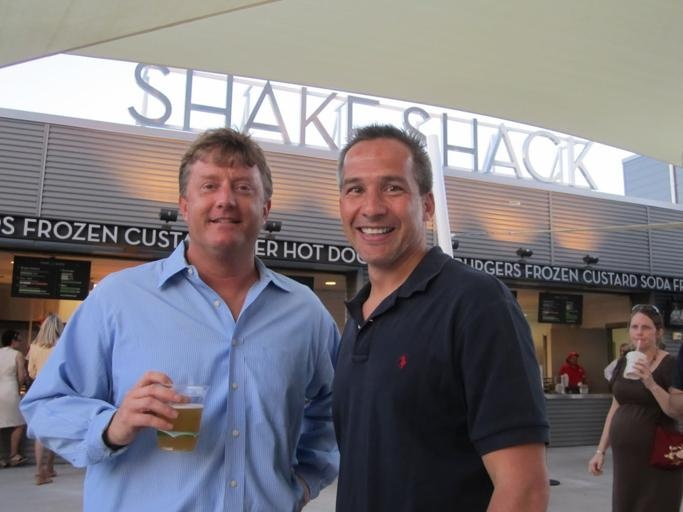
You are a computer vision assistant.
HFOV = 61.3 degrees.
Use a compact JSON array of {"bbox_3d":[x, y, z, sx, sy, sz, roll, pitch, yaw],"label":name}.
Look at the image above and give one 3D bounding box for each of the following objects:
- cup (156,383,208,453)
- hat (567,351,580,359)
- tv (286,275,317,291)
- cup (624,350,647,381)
[{"bbox_3d":[-0.562,0.565,2.019,0.130,0.229,0.153,6,-10,-26],"label":"cup"},{"bbox_3d":[4.820,2.059,12.027,0.243,0.138,0.347,5,-9,-10],"label":"hat"},{"bbox_3d":[-0.406,0.249,5.870,0.292,0.273,0.158,-1,5,6],"label":"tv"},{"bbox_3d":[1.973,0.734,3.888,0.130,0.193,0.257,-2,-10,25],"label":"cup"}]
